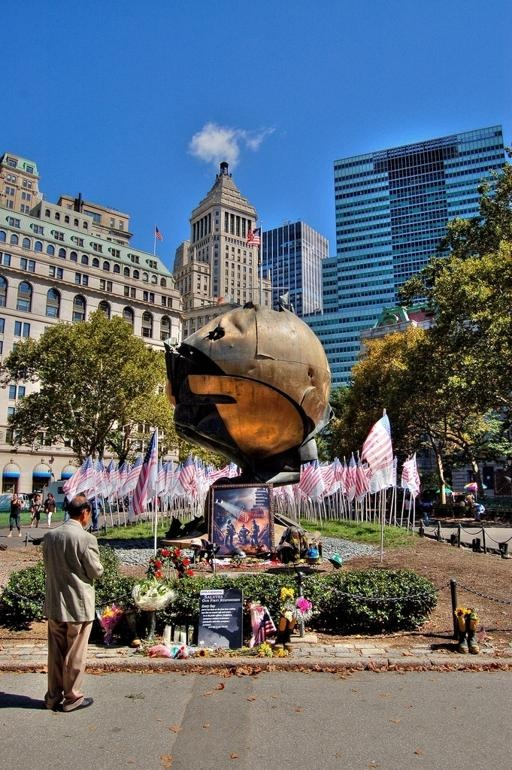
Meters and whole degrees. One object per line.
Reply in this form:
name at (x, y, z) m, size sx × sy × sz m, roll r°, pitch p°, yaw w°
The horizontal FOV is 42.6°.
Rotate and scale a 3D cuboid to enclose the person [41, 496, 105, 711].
person at (-1.736, 2.015, 6.206) m, size 0.498 × 1.904 × 0.427 m, roll 2°, pitch -9°, yaw -24°
